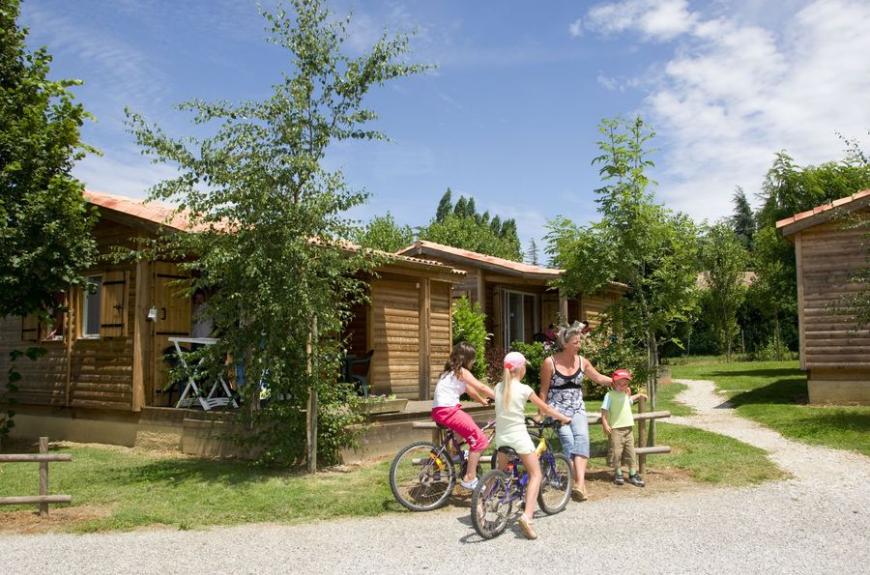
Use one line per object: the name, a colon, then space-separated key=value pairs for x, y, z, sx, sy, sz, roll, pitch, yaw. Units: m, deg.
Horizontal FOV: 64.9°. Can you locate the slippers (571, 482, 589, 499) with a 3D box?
slippers: x=2.349 y=3.367 z=11.124 sx=0.152 sy=0.185 sz=0.429 roll=-4 pitch=-35 yaw=28

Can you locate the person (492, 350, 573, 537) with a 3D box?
person: x=1.336 y=2.268 z=9.921 sx=0.857 sy=2.584 sz=0.931 roll=-2 pitch=4 yaw=-18

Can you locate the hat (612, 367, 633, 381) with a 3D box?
hat: x=3.218 y=1.517 z=11.927 sx=0.299 sy=0.170 sz=0.465 roll=1 pitch=-11 yaw=7

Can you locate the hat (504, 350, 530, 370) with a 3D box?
hat: x=1.206 y=1.099 z=10.146 sx=0.256 sy=0.189 sz=0.352 roll=-8 pitch=25 yaw=16

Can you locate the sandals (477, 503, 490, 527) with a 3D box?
sandals: x=0.667 y=3.255 z=9.669 sx=0.103 sy=0.285 sz=0.282 roll=-2 pitch=-1 yaw=-11

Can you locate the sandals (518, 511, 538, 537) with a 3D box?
sandals: x=1.304 y=3.401 z=9.684 sx=0.155 sy=0.398 sz=0.139 roll=-37 pitch=14 yaw=-28

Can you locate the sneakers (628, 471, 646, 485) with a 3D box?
sneakers: x=3.531 y=3.374 z=11.949 sx=0.129 sy=0.167 sz=0.363 roll=-1 pitch=-14 yaw=-20

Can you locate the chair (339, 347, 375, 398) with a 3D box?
chair: x=-2.032 y=2.051 z=16.570 sx=1.073 sy=1.425 sz=0.978 roll=2 pitch=-5 yaw=-4

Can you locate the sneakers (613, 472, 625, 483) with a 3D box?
sneakers: x=3.236 y=3.365 z=12.008 sx=0.097 sy=0.120 sz=0.269 roll=1 pitch=1 yaw=12
